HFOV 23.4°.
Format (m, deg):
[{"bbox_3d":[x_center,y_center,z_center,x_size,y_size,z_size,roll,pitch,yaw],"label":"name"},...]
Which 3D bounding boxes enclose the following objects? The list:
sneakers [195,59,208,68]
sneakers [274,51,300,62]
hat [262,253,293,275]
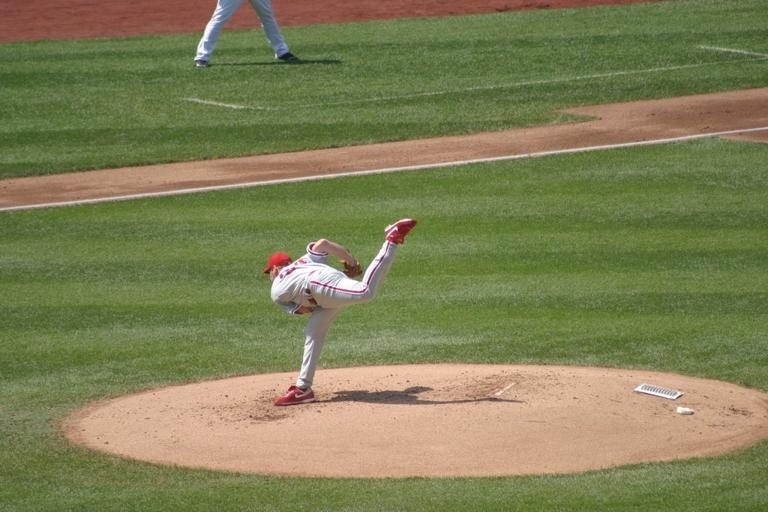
[{"bbox_3d":[-5.252,-5.625,53.834,0.317,0.190,0.235,-10,24,-8],"label":"sneakers"},{"bbox_3d":[-2.807,-5.879,54.544,0.765,0.242,0.254,2,20,18],"label":"sneakers"},{"bbox_3d":[-2.364,0.076,40.290,0.654,0.279,0.425,-13,6,23],"label":"hat"}]
